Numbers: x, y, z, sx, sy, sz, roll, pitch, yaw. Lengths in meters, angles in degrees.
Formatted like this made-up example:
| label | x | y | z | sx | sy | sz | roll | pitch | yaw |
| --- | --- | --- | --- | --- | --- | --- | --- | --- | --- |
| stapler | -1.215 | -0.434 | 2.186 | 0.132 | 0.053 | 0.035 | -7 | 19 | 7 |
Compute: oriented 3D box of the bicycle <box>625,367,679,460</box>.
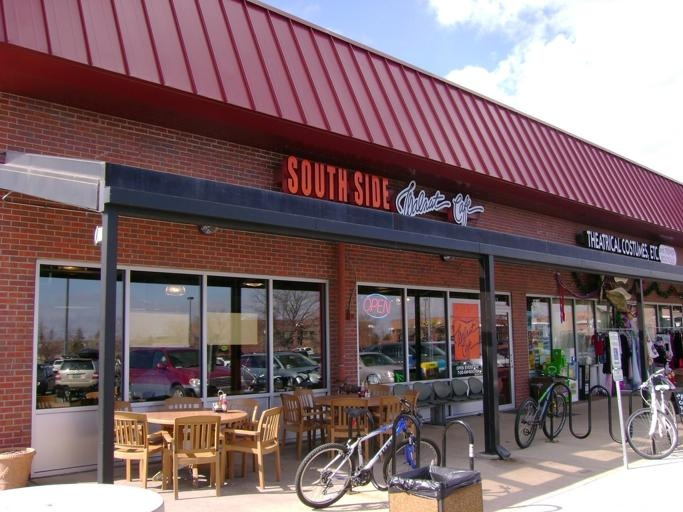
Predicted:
| label | x | y | z | sx | sy | sz | roll | pitch | yaw |
| --- | --- | --- | --- | --- | --- | --- | --- | --- | --- |
| bicycle | 5.778 | 2.841 | 10.791 | 0.873 | 1.484 | 2.435 | -8 | -13 | 28 |

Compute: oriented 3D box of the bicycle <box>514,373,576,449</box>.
| label | x | y | z | sx | sy | sz | roll | pitch | yaw |
| --- | --- | --- | --- | --- | --- | --- | --- | --- | --- |
| bicycle | 3.949 | 2.994 | 11.353 | 1.014 | 1.203 | 2.210 | 5 | -2 | 44 |

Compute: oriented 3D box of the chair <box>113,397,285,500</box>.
| label | x | y | z | sx | sy | sz | roll | pitch | yaw |
| --- | --- | --- | --- | --- | --- | --- | --- | --- | --- |
| chair | -2.145 | 2.893 | 8.750 | 2.439 | 1.191 | 1.368 | 2 | -12 | -21 |

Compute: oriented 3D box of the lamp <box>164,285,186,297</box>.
| label | x | y | z | sx | sy | sz | roll | pitch | yaw |
| --- | --- | --- | --- | --- | --- | --- | --- | --- | --- |
| lamp | -3.009 | 0.610 | 10.445 | 0.218 | 0.198 | 0.216 | 0 | -3 | -13 |
